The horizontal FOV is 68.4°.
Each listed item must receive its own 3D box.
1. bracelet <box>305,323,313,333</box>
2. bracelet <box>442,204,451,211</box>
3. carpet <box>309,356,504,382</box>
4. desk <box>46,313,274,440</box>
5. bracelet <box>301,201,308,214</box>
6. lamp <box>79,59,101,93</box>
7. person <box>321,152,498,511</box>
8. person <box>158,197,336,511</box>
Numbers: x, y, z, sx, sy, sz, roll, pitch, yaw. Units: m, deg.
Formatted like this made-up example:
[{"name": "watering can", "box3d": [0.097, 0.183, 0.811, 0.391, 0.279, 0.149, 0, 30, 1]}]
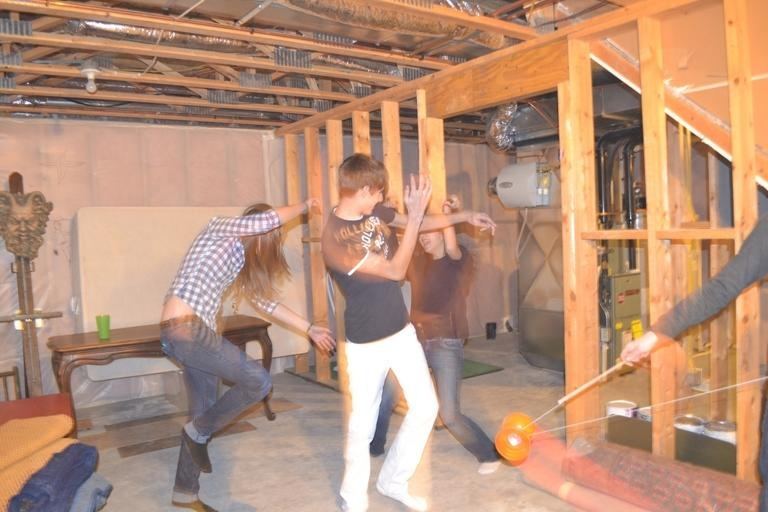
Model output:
[{"name": "bracelet", "box3d": [-0.564, 0.549, 4.288, 0.069, 0.060, 0.019, 5, -12, 30]}, {"name": "bracelet", "box3d": [0.552, -0.442, 5.028, 0.061, 0.069, 0.061, 3, -34, 12]}, {"name": "carpet", "box3d": [0.188, 1.017, 5.026, 1.021, 0.013, 0.313, 1, 6, 26]}, {"name": "desk", "box3d": [-2.126, 1.114, 5.243, 1.508, 0.632, 0.546, -4, 14, -28]}, {"name": "bracelet", "box3d": [-0.588, -0.354, 4.126, 0.023, 0.071, 0.057, -3, 5, 8]}, {"name": "lamp", "box3d": [-2.803, -1.735, 5.411, 0.151, 0.328, 0.333, -7, 9, -24]}, {"name": "person", "box3d": [-0.006, 0.589, 3.969, 0.759, 2.601, 0.434, -4, 8, 1]}, {"name": "person", "box3d": [-1.115, 0.768, 4.278, 1.135, 2.276, 0.647, -7, 9, -22]}]
